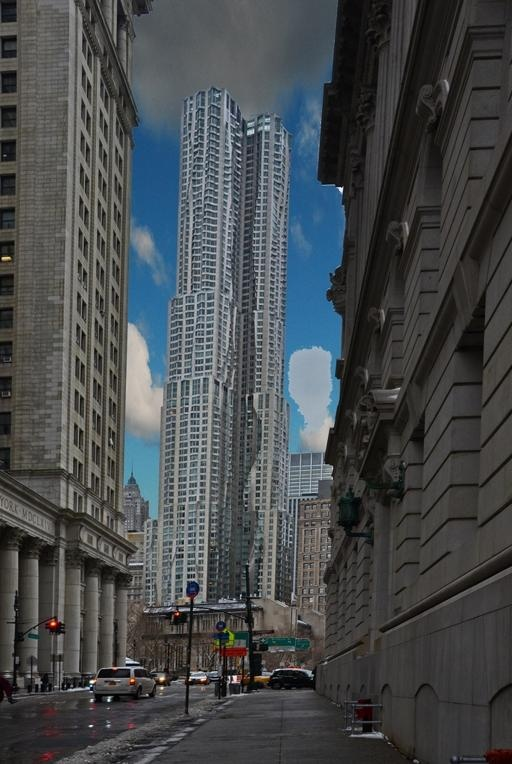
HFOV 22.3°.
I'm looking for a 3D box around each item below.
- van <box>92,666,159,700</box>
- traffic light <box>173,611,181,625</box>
[{"bbox_3d":[-4.929,11.460,49.696,1.227,1.154,3.393,-1,-12,7],"label":"van"},{"bbox_3d":[-2.578,7.845,42.848,0.272,0.524,0.958,2,-21,-4],"label":"traffic light"}]
